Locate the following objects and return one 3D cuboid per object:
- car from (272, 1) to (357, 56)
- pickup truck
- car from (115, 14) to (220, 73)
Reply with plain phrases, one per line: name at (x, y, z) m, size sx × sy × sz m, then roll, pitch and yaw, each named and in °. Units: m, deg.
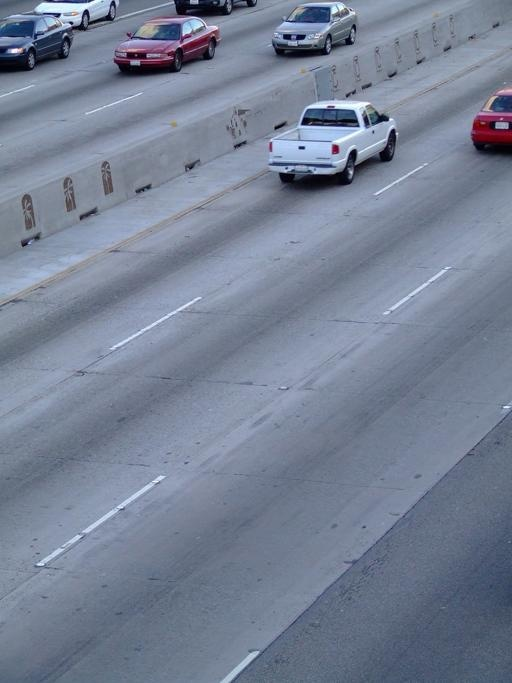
car at (2.074, -10.093, 39.254) m, size 1.450 × 1.050 × 3.059 m, roll 7°, pitch 25°, yaw 23°
pickup truck at (1.662, -4.032, 24.729) m, size 1.387 × 1.053 × 2.858 m, roll 10°, pitch 29°, yaw 28°
car at (-2.542, -8.994, 36.950) m, size 1.555 × 1.035 × 3.273 m, roll 7°, pitch 27°, yaw 20°
